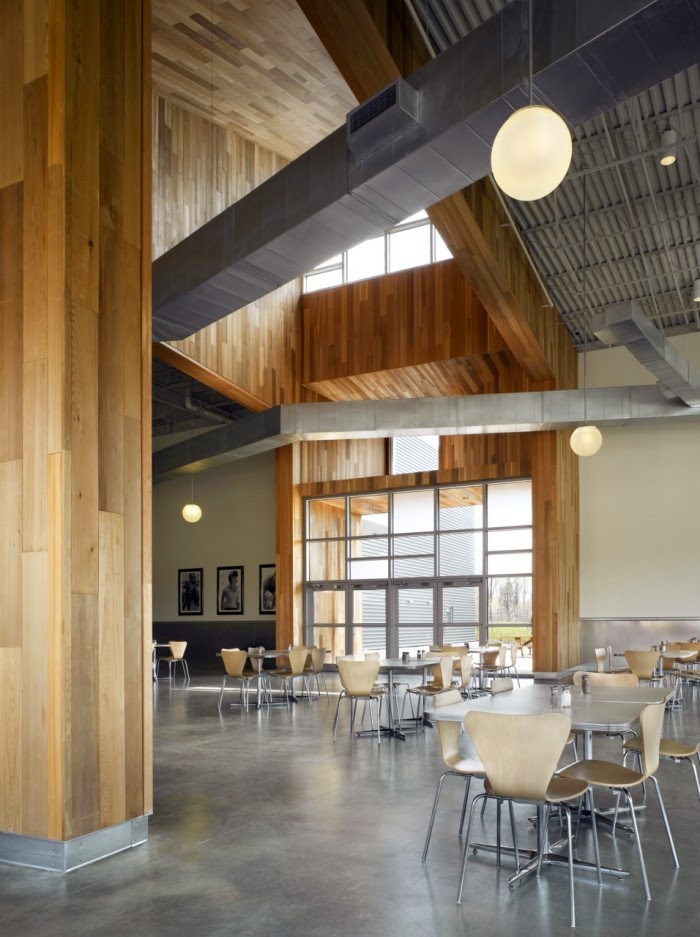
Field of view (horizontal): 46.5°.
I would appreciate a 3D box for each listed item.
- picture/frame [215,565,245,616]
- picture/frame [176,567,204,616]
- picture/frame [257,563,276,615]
[{"bbox_3d":[-2.482,2.555,17.018,0.758,1.433,0.047,-7,-10,41],"label":"picture/frame"},{"bbox_3d":[-3.455,2.693,17.749,0.745,1.360,0.049,-7,-11,38],"label":"picture/frame"},{"bbox_3d":[-1.688,2.425,16.436,0.410,0.999,0.079,-8,-10,44],"label":"picture/frame"}]
